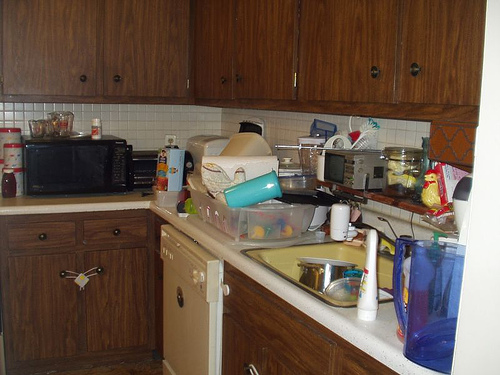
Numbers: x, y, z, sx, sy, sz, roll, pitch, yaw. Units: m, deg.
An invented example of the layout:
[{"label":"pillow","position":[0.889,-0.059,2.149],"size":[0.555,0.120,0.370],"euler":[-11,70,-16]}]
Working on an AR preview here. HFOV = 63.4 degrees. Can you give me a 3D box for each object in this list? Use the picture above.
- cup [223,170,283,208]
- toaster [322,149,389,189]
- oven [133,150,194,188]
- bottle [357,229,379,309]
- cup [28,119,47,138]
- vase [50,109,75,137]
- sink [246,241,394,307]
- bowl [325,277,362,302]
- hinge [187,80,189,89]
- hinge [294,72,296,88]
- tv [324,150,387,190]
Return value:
[{"label":"cup","position":[0.018,0.007,1.785],"size":[0.262,0.149,0.100],"euler":[-4,9,-11]},{"label":"toaster","position":[0.496,-0.095,1.895],"size":[0.194,0.155,0.289],"euler":[-4,10,-15]},{"label":"oven","position":[-0.654,-0.141,3.112],"size":[0.479,0.266,0.387],"euler":[-3,9,-4]},{"label":"bottle","position":[0.346,0.245,1.186],"size":[0.060,0.274,0.126],"euler":[1,9,18]},{"label":"cup","position":[-1.507,-0.427,2.891],"size":[0.110,0.134,0.120],"euler":[5,14,-1]},{"label":"vase","position":[-1.376,-0.490,3.023],"size":[0.229,0.206,0.232],"euler":[-6,17,-39]},{"label":"sink","position":[0.353,0.328,1.653],"size":[0.312,0.149,0.393],"euler":[-1,6,-25]},{"label":"bowl","position":[0.366,0.376,1.504],"size":[0.132,0.063,0.124],"euler":[-2,10,0]},{"label":"hinge","position":[-0.483,-0.814,3.193],"size":[0.019,0.064,0.004],"euler":[-4,9,-11]},{"label":"hinge","position":[0.230,-0.539,2.037],"size":[0.014,0.073,0.007],"euler":[1,9,17]},{"label":"tv","position":[0.493,-0.093,1.897],"size":[0.203,0.157,0.302],"euler":[-1,9,-14]}]
